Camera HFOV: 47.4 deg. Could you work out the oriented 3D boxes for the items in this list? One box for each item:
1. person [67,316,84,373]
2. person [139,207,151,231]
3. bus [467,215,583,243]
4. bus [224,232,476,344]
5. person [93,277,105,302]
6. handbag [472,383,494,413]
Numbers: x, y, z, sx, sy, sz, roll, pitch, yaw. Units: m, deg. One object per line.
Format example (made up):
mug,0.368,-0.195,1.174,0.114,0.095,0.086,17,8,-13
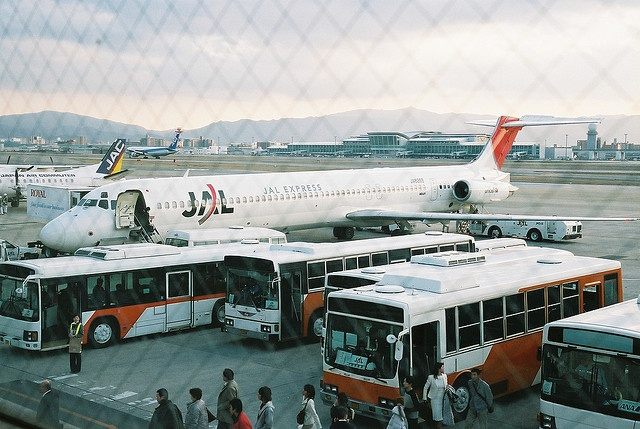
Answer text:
person,-6.498,3.376,19.281,0.389,1.499,0.809,-5,11,-20
person,-6.938,0.143,28.767,0.674,0.925,0.252,8,14,41
bus,10.961,0.795,38.823,6.375,1.304,2.020,1,4,32
bus,0.707,2.010,22.978,2.446,2.300,8.707,1,3,44
person,-6.335,2.198,20.807,0.356,0.781,0.118,-5,11,-24
handbag,3.468,3.824,15.365,0.450,0.652,0.195,2,11,15
